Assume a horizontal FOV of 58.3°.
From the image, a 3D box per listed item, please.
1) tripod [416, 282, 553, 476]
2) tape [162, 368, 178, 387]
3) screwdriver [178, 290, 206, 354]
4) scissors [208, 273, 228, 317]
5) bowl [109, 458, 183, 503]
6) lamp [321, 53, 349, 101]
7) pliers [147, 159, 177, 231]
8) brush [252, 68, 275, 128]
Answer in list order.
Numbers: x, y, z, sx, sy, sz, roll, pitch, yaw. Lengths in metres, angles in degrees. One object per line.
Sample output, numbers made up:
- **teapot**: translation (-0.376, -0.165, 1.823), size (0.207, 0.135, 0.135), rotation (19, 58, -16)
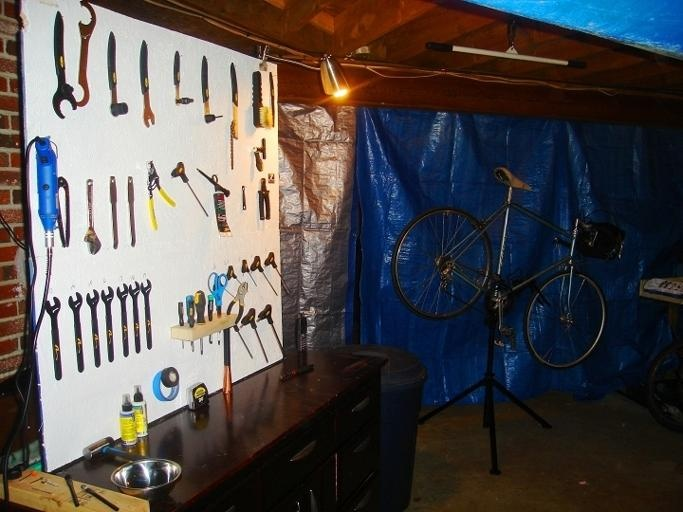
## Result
- **tripod**: translation (1.081, 0.861, 4.547), size (0.629, 1.210, 1.097), rotation (0, 4, 13)
- **tape**: translation (-0.800, 0.561, 2.835), size (0.020, 0.067, 0.068), rotation (-15, 43, 34)
- **screwdriver**: translation (-0.717, 0.299, 2.916), size (0.079, 0.323, 0.069), rotation (-2, -3, 26)
- **scissors**: translation (-0.628, 0.192, 3.060), size (0.021, 0.303, 0.181), rotation (4, 8, 25)
- **bowl**: translation (-0.773, 0.895, 2.441), size (0.264, 0.095, 0.189), rotation (6, 14, 26)
- **lamp**: translation (-0.055, -1.061, 3.576), size (0.162, 0.221, 0.110), rotation (0, 12, 3)
- **pliers**: translation (-0.831, -0.282, 2.794), size (0.032, 0.303, 0.141), rotation (8, 15, 36)
- **brush**: translation (-0.417, -0.853, 3.311), size (0.081, 0.301, 0.198), rotation (3, 13, 20)
